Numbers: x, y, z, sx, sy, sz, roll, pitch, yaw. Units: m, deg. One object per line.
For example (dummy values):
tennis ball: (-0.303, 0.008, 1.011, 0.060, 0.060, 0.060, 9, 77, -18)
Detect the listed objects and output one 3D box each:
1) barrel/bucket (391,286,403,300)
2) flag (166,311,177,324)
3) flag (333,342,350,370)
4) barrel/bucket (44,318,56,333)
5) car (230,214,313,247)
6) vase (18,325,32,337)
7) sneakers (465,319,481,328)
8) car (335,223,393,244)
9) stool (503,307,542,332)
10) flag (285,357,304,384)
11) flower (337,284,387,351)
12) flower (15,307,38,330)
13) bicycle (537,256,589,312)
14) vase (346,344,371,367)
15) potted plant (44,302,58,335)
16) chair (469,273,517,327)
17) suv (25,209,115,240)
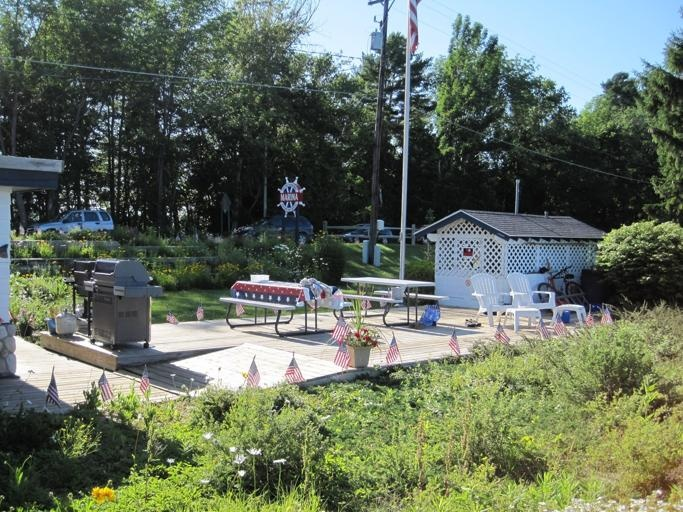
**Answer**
barrel/bucket: (1.355, 0.879, 18.222, 0.239, 0.286, 0.239, 0, 6, 0)
flag: (-3.749, 1.357, 16.635, 0.215, 0.287, 0.021, 10, 18, 30)
flag: (0.013, 1.648, 12.599, 0.249, 0.421, 0.255, 0, -3, 1)
barrel/bucket: (-5.488, 1.284, 14.219, 0.196, 0.420, 0.357, 1, -1, -21)
car: (-2.859, -1.449, 33.033, 3.266, 1.490, 1.592, 3, -1, -25)
vase: (-6.309, 1.477, 15.056, 0.204, 0.216, 0.255, 1, -9, -5)
sneakers: (2.989, 1.535, 17.176, 0.227, 0.105, 0.184, -3, -2, -17)
car: (1.334, -0.963, 39.308, 2.331, 1.171, 1.228, 3, 3, 3)
stool: (4.068, 1.295, 16.872, 0.594, 0.397, 0.652, -4, 6, -19)
flag: (-0.744, 1.821, 11.993, 0.333, 0.506, 0.075, -1, 10, -10)
flower: (0.215, 1.132, 13.361, 0.748, 1.523, 0.909, -4, 5, -39)
flower: (-6.376, 1.210, 15.273, 0.363, 0.512, 0.404, 1, 4, -39)
bicycle: (6.349, 0.787, 20.934, 1.662, 1.272, 0.846, -9, 0, -37)
vase: (0.302, 1.669, 12.624, 0.276, 0.325, 0.379, 1, 3, -9)
potted plant: (-5.746, 1.244, 14.906, 0.223, 0.450, 0.348, 3, -1, -14)
chair: (3.577, 0.918, 17.549, 1.038, 1.623, 1.034, -5, 8, -34)
suv: (-10.138, -1.170, 28.212, 2.757, 1.507, 1.370, 2, -2, -39)
